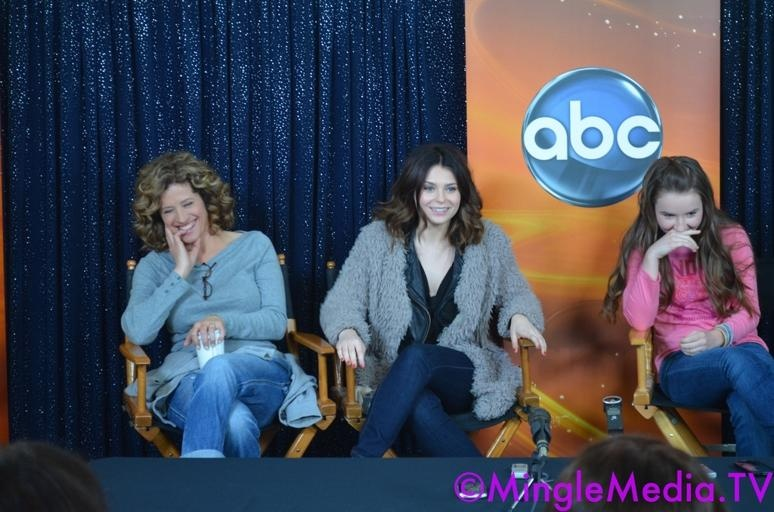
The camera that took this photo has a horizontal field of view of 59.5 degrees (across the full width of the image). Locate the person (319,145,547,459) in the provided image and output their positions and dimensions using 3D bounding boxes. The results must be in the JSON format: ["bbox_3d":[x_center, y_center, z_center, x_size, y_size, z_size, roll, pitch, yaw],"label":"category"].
[{"bbox_3d":[0.210,0.202,3.021,1.055,1.650,1.164,0,-1,1],"label":"person"}]

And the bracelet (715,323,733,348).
[{"bbox_3d":[1.326,0.314,2.673,0.058,0.081,0.030,17,-28,5],"label":"bracelet"}]

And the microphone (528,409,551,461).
[{"bbox_3d":[0.435,0.529,1.959,0.050,0.055,0.182,2,35,5],"label":"microphone"}]

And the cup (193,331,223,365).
[{"bbox_3d":[-0.643,0.342,2.502,0.110,0.138,0.115,0,-6,0],"label":"cup"}]

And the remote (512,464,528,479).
[{"bbox_3d":[0.355,0.581,1.819,0.042,0.020,0.057,-2,1,10],"label":"remote"}]
